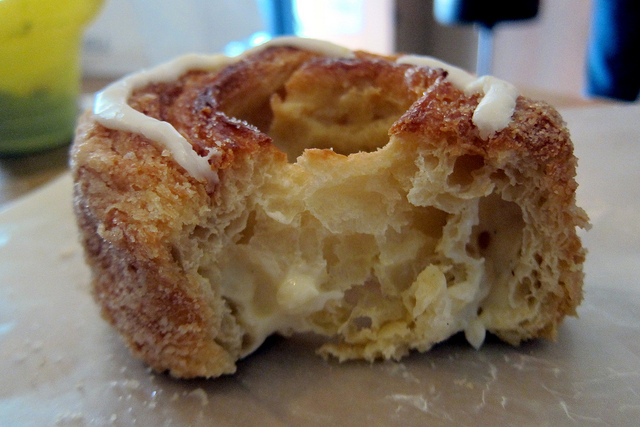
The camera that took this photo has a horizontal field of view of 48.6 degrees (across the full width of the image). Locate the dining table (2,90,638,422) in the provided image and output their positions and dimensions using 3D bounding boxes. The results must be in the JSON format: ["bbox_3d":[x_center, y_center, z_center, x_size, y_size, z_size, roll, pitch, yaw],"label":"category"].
[{"bbox_3d":[-0.115,0.219,1.896,1.380,0.887,1.025,-8,19,-23],"label":"dining table"}]
